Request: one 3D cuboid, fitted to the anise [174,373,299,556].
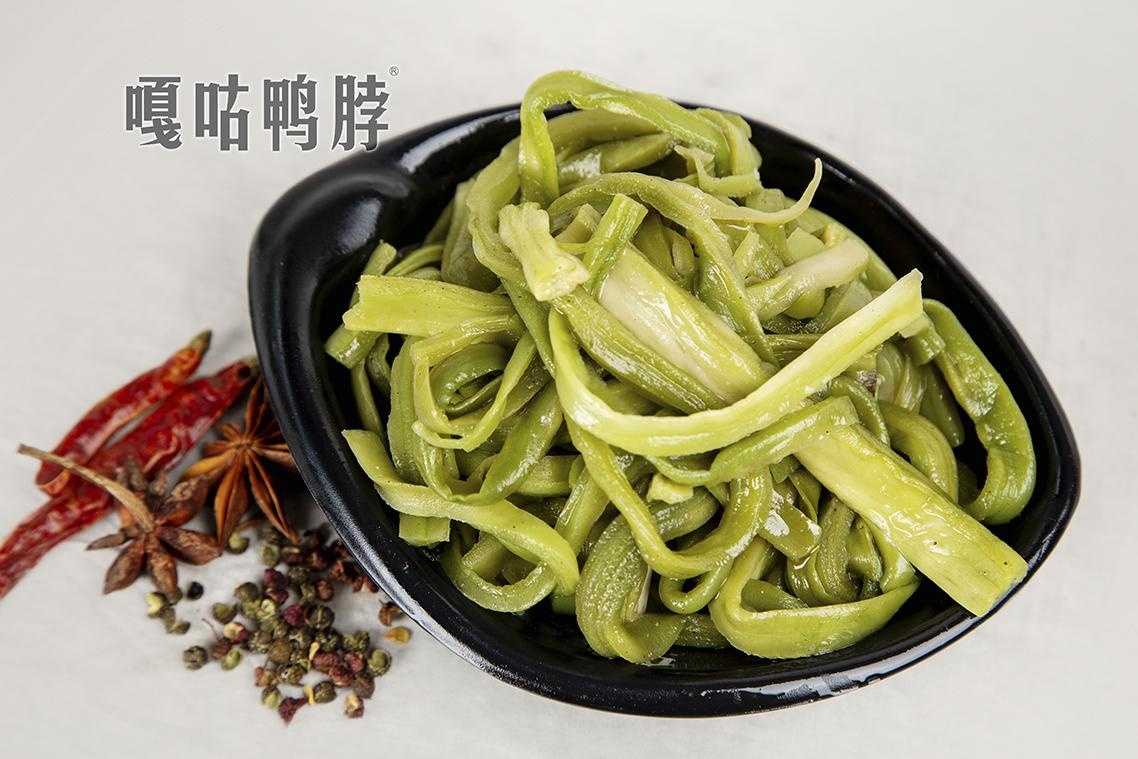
[{"bbox_3d":[-1.190,0.313,4.140,0.301,0.388,0.743,-10,-61,-16],"label":"anise"}]

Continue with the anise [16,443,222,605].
[{"bbox_3d":[-1.571,0.526,4.080,0.569,0.504,0.387,-7,-33,-17],"label":"anise"}]
